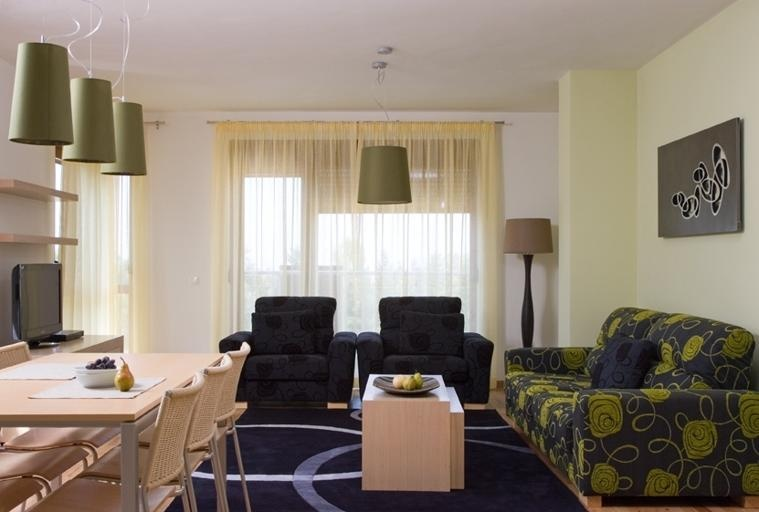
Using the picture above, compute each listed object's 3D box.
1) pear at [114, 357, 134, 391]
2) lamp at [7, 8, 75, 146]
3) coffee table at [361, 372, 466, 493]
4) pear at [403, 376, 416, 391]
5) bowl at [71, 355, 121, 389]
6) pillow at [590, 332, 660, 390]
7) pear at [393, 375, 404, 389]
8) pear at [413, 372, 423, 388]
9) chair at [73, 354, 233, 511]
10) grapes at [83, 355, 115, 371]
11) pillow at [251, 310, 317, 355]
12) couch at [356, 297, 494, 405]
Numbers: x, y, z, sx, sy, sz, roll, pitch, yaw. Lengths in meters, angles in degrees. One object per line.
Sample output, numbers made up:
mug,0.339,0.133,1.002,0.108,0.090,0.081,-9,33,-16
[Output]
pear,-1.571,0.731,3.586,0.136,0.252,0.135,-2,4,-22
lamp,-2.056,-1.007,3.518,0.347,0.648,0.258,-3,8,-18
coffee table,0.261,1.290,4.565,0.639,0.463,0.960,0,1,1
pear,0.240,1.014,4.650,0.078,0.065,0.105,5,4,10
bowl,-1.693,0.682,3.538,0.167,0.089,0.180,5,2,0
pillow,2.074,0.899,4.945,0.165,0.450,0.446,30,-23,-28
pear,0.143,1.005,4.686,0.081,0.077,0.081,-6,11,-16
pear,0.307,0.988,4.640,0.083,0.111,0.067,-4,-12,9
chair,-1.334,1.106,4.028,1.015,1.433,0.824,0,-5,0
grapes,-1.675,0.651,3.533,0.105,0.041,0.106,-2,3,3
pillow,-1.082,0.867,6.535,0.702,0.500,0.249,-1,12,-16
couch,0.498,0.995,6.713,1.406,1.070,1.099,0,-11,2
